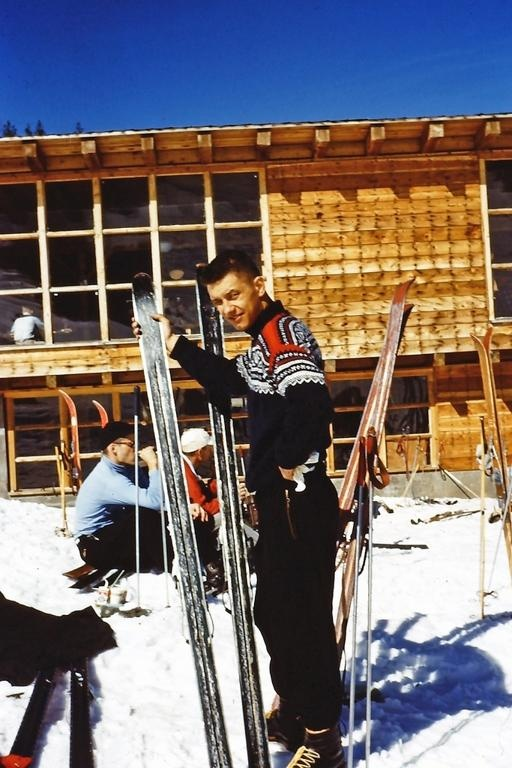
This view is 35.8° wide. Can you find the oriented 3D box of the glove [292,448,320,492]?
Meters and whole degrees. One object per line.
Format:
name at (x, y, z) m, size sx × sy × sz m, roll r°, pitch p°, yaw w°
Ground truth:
glove at (0.223, 0.383, 3.542) m, size 0.056 × 0.157 × 0.161 m, roll 29°, pitch -38°, yaw -1°
